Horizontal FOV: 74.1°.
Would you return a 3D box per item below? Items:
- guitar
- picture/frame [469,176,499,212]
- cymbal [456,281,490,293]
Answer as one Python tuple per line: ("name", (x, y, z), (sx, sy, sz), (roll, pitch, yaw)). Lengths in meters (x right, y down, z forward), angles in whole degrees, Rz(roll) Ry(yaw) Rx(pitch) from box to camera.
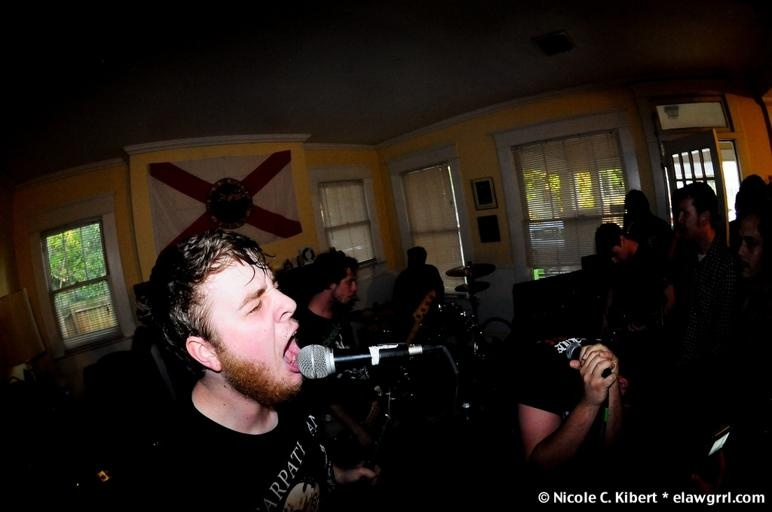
("guitar", (0.043, 1.103, 4.325), (0.812, 0.277, 2.136), (26, -35, 7))
("picture/frame", (1.159, -0.740, 5.974), (0.036, 0.415, 0.354), (-19, 11, -41))
("cymbal", (0.937, 0.335, 5.538), (0.212, 0.065, 0.210), (-1, 7, 25))
